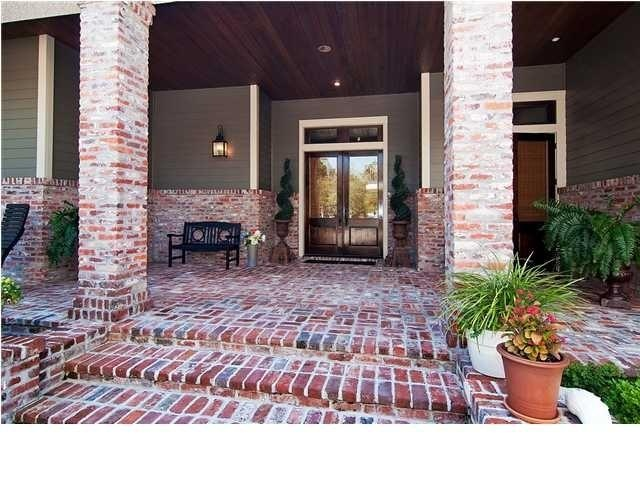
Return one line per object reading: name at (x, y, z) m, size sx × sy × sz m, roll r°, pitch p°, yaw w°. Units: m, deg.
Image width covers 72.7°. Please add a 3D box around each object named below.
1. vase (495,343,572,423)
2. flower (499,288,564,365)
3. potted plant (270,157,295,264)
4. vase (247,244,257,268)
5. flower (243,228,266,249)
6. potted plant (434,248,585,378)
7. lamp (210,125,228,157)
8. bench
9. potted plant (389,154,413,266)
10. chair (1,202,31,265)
vase at (1.735, 1.197, 3.688) m, size 0.566 × 0.420 × 0.521 m, roll 1°, pitch -2°, yaw -2°
flower at (1.791, 0.705, 3.606) m, size 0.376 × 0.226 × 0.393 m, roll -2°, pitch 8°, yaw -37°
potted plant at (-0.820, -0.688, 9.596) m, size 0.497 × 2.299 × 0.948 m, roll 1°, pitch 3°, yaw -4°
vase at (-1.349, 0.302, 8.722) m, size 0.198 × 0.443 × 0.264 m, roll 1°, pitch 3°, yaw -8°
flower at (-1.326, -0.024, 8.826) m, size 0.404 × 0.329 × 0.392 m, roll 2°, pitch 8°, yaw 24°
potted plant at (1.803, 0.633, 4.001) m, size 0.984 × 0.680 × 0.975 m, roll 2°, pitch -12°, yaw -39°
lamp at (-2.155, -2.109, 9.312) m, size 0.399 × 0.672 × 0.275 m, roll 2°, pitch 3°, yaw 15°
bench at (-2.428, 0.063, 8.816) m, size 1.676 × 0.886 × 1.334 m, roll 1°, pitch 3°, yaw 8°
potted plant at (1.659, -0.626, 8.926) m, size 0.453 × 2.262 × 0.826 m, roll 2°, pitch 3°, yaw 11°
chair at (-4.717, -0.115, 6.761) m, size 0.354 × 0.995 × 0.147 m, roll -1°, pitch -7°, yaw -5°
